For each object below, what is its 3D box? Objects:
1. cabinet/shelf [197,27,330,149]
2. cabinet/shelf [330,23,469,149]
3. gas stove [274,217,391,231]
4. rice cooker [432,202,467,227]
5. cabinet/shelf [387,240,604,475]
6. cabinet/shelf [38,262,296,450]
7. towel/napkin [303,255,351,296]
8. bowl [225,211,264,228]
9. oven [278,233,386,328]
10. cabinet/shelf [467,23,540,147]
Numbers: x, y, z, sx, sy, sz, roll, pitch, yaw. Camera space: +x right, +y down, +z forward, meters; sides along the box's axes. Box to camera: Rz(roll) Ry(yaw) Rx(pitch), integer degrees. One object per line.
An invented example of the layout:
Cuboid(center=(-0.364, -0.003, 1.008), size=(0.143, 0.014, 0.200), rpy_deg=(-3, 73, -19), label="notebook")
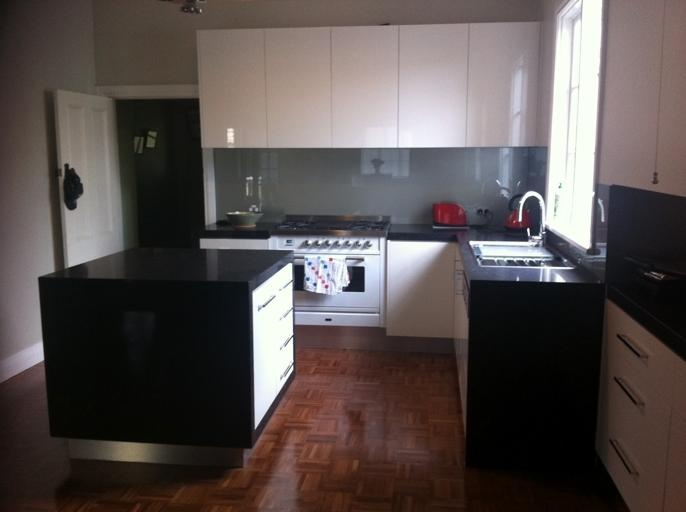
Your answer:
Cuboid(center=(-0.627, -1.349, 4.614), size=(1.065, 0.947, 0.402), rpy_deg=(-1, 2, -2), label="cabinet/shelf")
Cuboid(center=(0.439, -1.311, 4.493), size=(1.095, 0.976, 0.399), rpy_deg=(0, -3, 1), label="cabinet/shelf")
Cuboid(center=(-0.105, -0.276, 4.607), size=(0.977, 0.064, 0.615), rpy_deg=(1, 11, 6), label="gas stove")
Cuboid(center=(0.878, -0.331, 4.540), size=(0.303, 0.229, 0.175), rpy_deg=(1, 8, 14), label="rice cooker")
Cuboid(center=(0.808, 0.450, 3.479), size=(1.070, 0.983, 1.626), rpy_deg=(1, 11, 4), label="cabinet/shelf")
Cuboid(center=(-0.903, 0.401, 2.970), size=(0.943, 0.759, 0.987), rpy_deg=(-1, 5, -3), label="cabinet/shelf")
Cuboid(center=(-0.142, 0.153, 4.268), size=(0.291, 0.316, 0.091), rpy_deg=(4, 7, 12), label="towel/napkin")
Cuboid(center=(-0.847, -0.309, 4.665), size=(0.265, 0.118, 0.274), rpy_deg=(0, 11, 0), label="bowl")
Cuboid(center=(-0.121, 0.170, 4.565), size=(0.851, 0.781, 0.500), rpy_deg=(-1, 8, -3), label="oven")
Cuboid(center=(1.191, -1.259, 4.464), size=(0.539, 0.936, 0.551), rpy_deg=(6, 18, 14), label="cabinet/shelf")
